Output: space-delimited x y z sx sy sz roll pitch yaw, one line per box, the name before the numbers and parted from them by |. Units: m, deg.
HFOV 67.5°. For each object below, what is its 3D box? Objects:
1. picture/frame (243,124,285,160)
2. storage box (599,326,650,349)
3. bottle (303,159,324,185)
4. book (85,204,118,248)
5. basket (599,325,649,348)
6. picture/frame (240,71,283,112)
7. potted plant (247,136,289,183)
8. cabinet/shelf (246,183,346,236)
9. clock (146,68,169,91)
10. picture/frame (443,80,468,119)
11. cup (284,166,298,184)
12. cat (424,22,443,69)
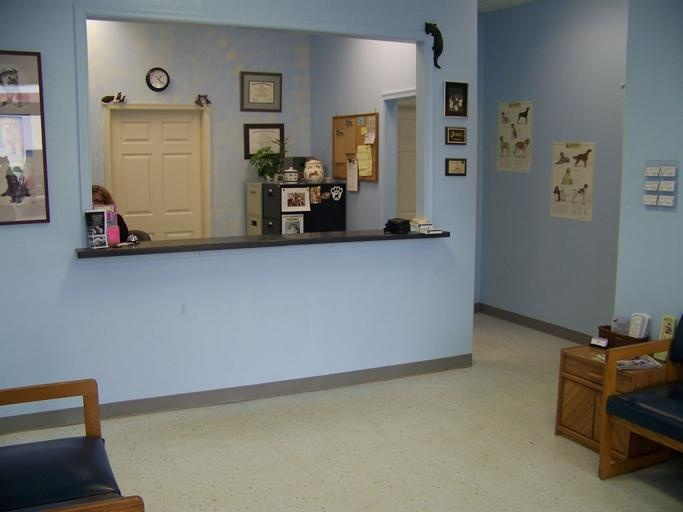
picture/frame | -0.992 -1.436 6.417 0.461 0.449 0.036 -5 10 -21
storage box | 1.875 0.533 3.438 0.127 0.071 0.182 -1 8 -21
bottle | -0.283 -0.955 5.892 0.245 0.327 0.249 -1 4 0
book | -1.619 -0.196 3.447 0.038 0.242 0.246 4 12 28
basket | 1.864 0.548 3.437 0.127 0.070 0.182 -1 8 -17
picture/frame | -1.017 -2.081 6.402 0.502 0.483 0.051 -1 4 -26
potted plant | -0.884 -1.203 6.372 0.477 0.567 0.533 3 10 13
cabinet/shelf | -0.634 -0.543 5.794 0.573 0.597 0.430 -1 12 -16
clock | -2.151 -2.077 5.973 0.250 0.279 0.049 0 -1 -27
picture/frame | 0.939 -1.307 4.231 0.294 0.377 0.034 2 -2 -34
cup | -0.558 -0.914 5.761 0.158 0.170 0.168 0 7 0
cat | 0.754 -1.718 4.159 0.162 0.362 0.081 3 12 11
